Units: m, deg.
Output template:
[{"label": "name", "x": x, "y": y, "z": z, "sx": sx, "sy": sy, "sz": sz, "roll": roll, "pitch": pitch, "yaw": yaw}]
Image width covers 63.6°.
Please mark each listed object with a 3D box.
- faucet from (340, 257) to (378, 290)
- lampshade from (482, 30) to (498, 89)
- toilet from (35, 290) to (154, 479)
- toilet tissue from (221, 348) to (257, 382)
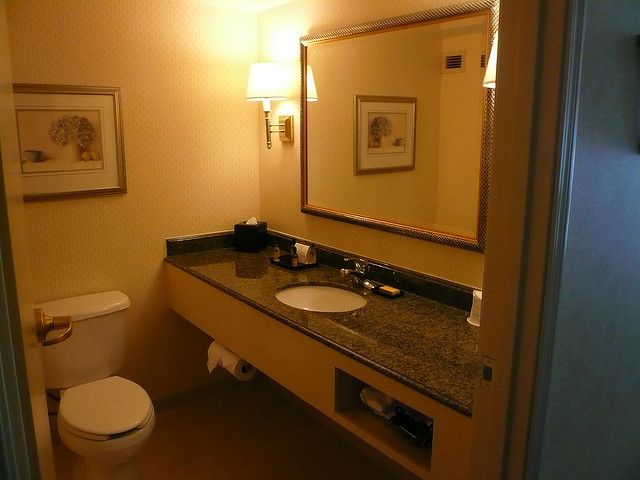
[{"label": "faucet", "x": 0.201, "y": 0.170, "z": 2.599, "sx": 0.235, "sy": 0.129, "sz": 0.086, "roll": -3, "pitch": 3, "yaw": -36}, {"label": "lampshade", "x": 0.625, "y": -0.651, "z": 1.903, "sx": 0.043, "sy": 0.187, "sz": 0.280, "roll": 2, "pitch": 17, "yaw": 17}, {"label": "toilet", "x": -1.113, "y": 0.786, "z": 2.625, "sx": 0.472, "sy": 0.874, "sz": 0.790, "roll": -11, "pitch": 18, "yaw": -26}, {"label": "toilet tissue", "x": -0.429, "y": 0.650, "z": 2.752, "sx": 0.154, "sy": 0.168, "sz": 0.187, "roll": -21, "pitch": 13, "yaw": -37}]
